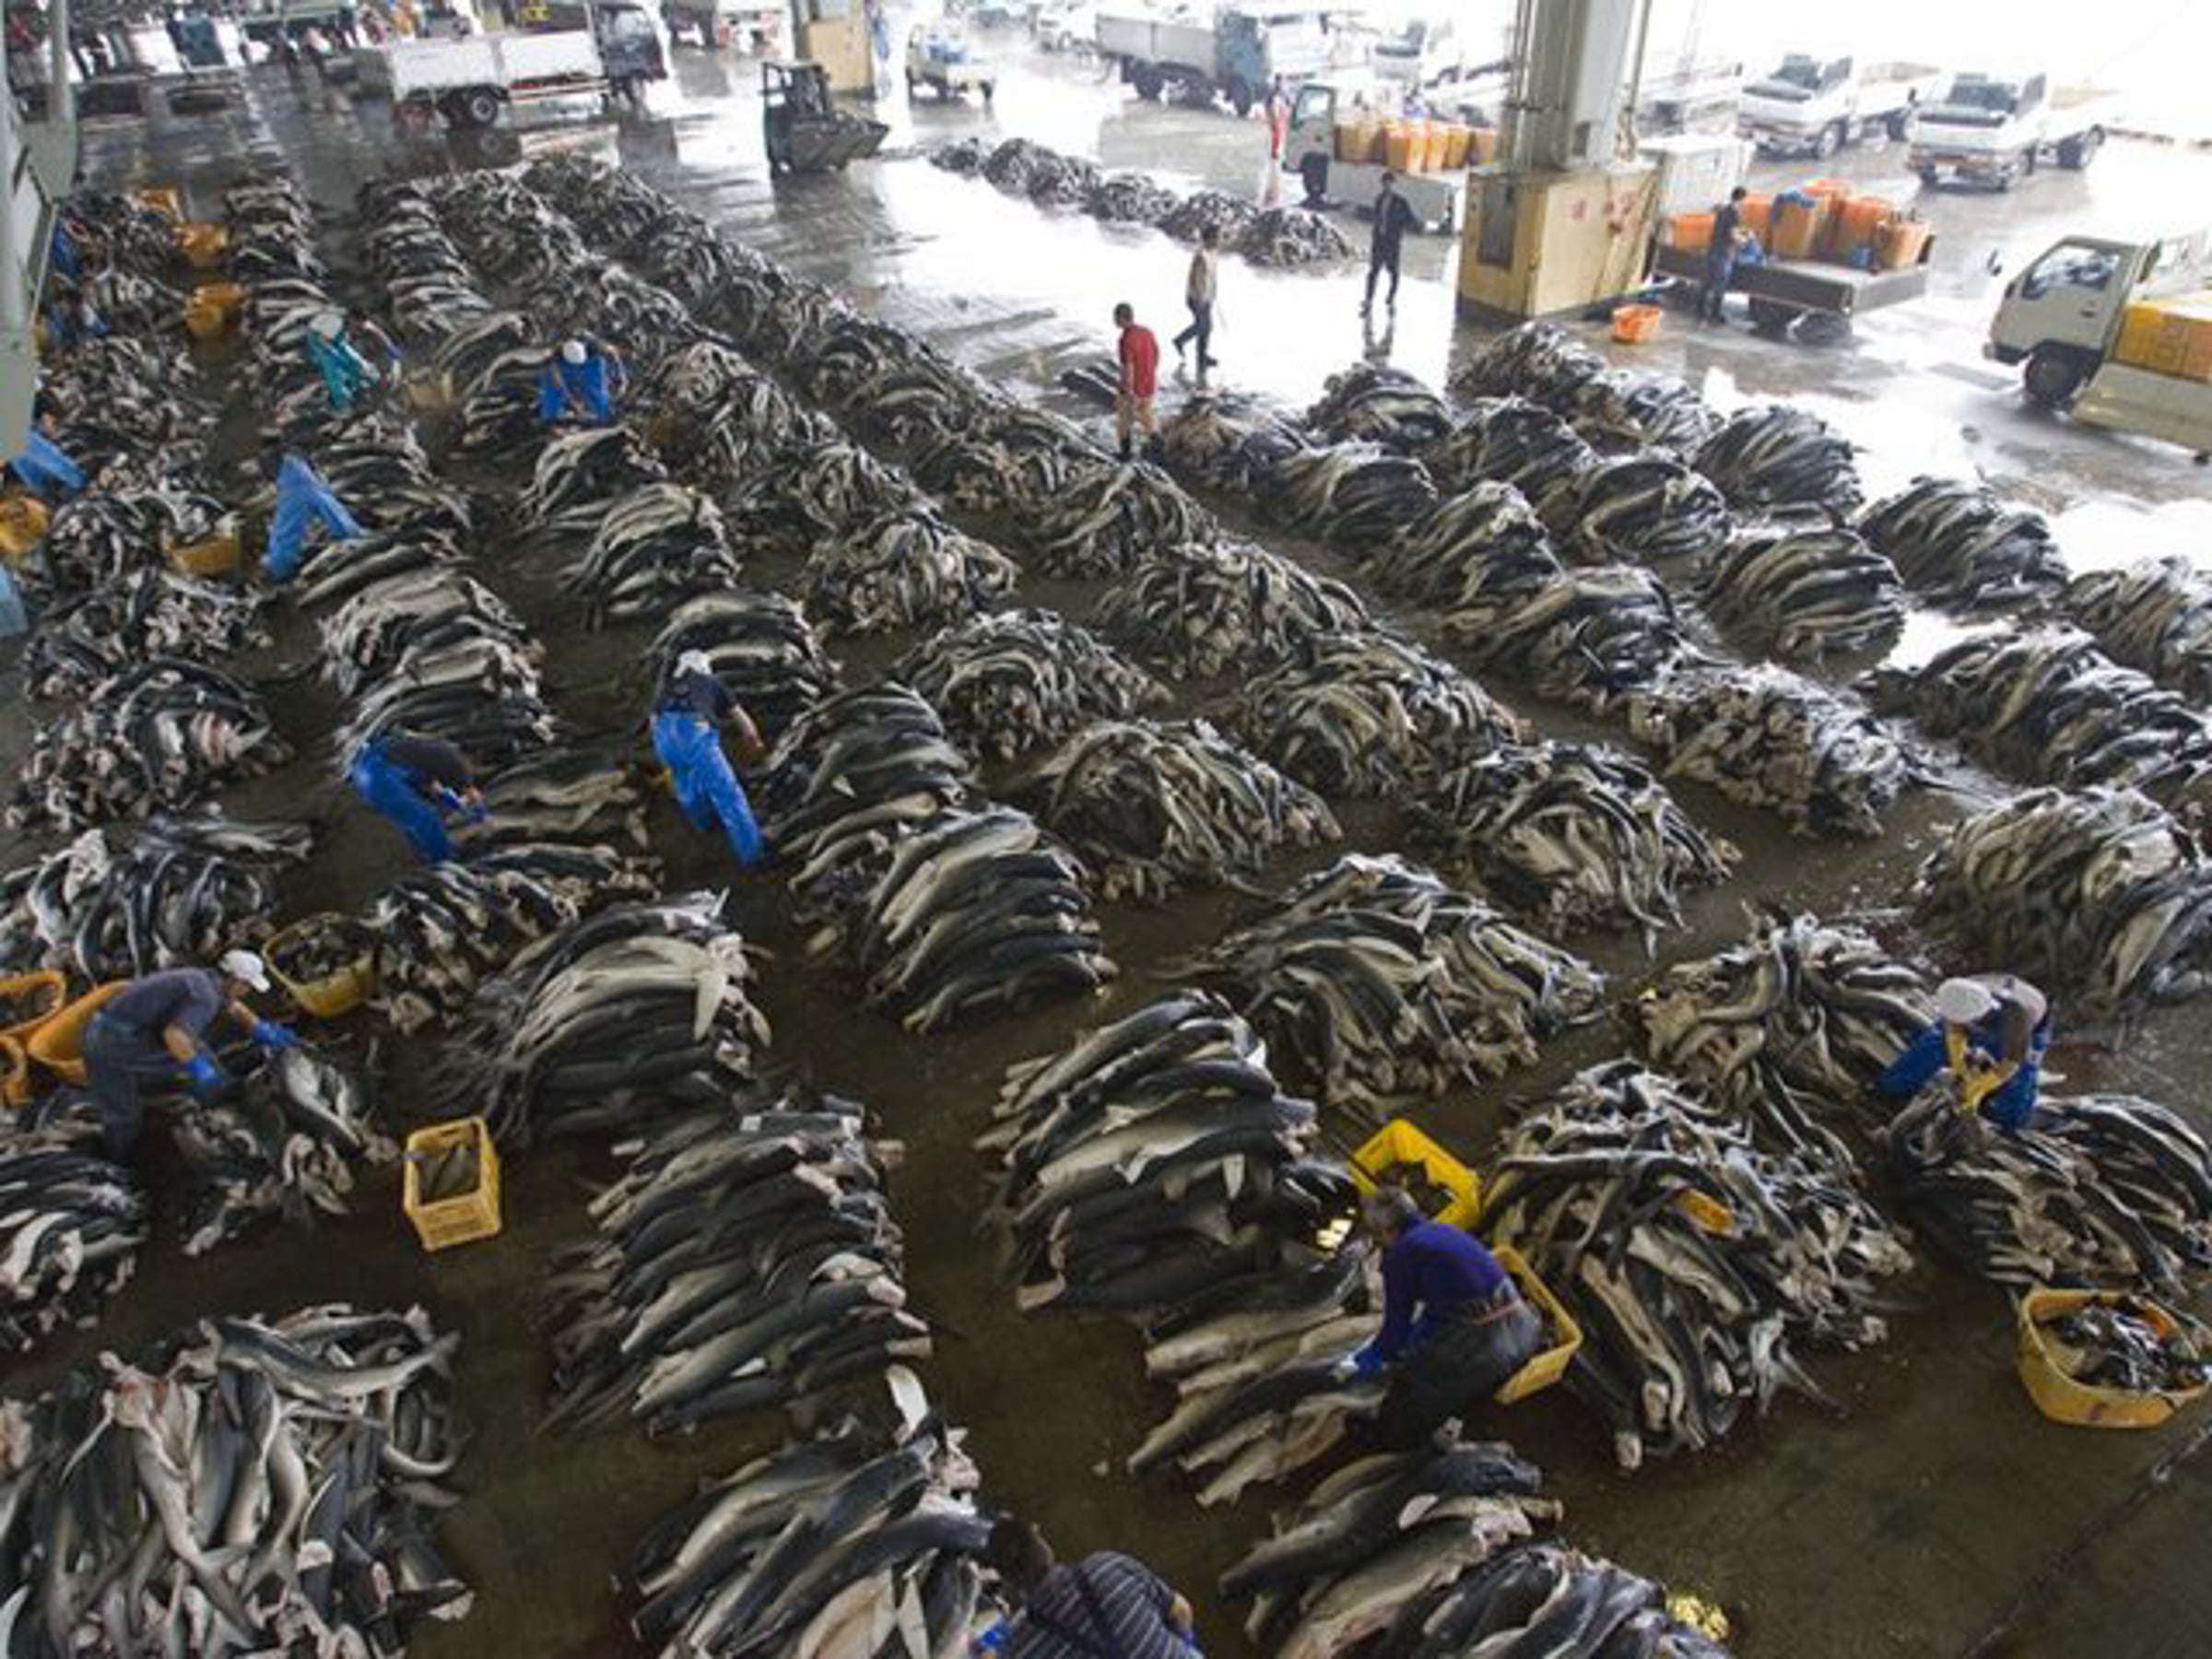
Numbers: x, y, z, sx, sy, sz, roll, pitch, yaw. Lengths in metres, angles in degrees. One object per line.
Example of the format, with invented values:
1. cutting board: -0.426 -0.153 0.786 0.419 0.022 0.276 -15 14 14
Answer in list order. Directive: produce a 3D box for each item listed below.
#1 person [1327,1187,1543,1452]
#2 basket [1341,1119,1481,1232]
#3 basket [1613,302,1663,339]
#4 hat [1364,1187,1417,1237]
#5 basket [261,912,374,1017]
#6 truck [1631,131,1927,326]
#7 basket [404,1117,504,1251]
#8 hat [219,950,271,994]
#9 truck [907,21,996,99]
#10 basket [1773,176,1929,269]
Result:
1. person: 1.894 2.842 8.262 1.045 1.450 0.673 23 48 18
2. basket: 2.079 2.236 9.470 0.702 0.250 0.700 -39 66 -22
3. basket: 7.899 -7.618 21.819 0.566 0.308 0.641 -9 39 -5
4. hat: 1.558 2.065 8.023 0.244 0.277 0.276 0 43 -1
5. basket: -5.942 1.082 11.133 0.720 0.576 0.859 -25 45 -28
6. truck: 10.372 -9.228 22.775 4.107 2.422 3.310 20 35 26
7. basket: -4.223 2.454 9.608 0.520 0.283 0.632 -15 9 -8
8. hat: -5.963 0.952 9.907 0.457 0.211 0.298 2 31 -20
9. truck: -4.360 -20.910 39.416 1.982 1.589 2.948 -22 46 -22
10. basket: 11.351 -9.250 22.185 2.196 0.892 1.483 17 47 27
